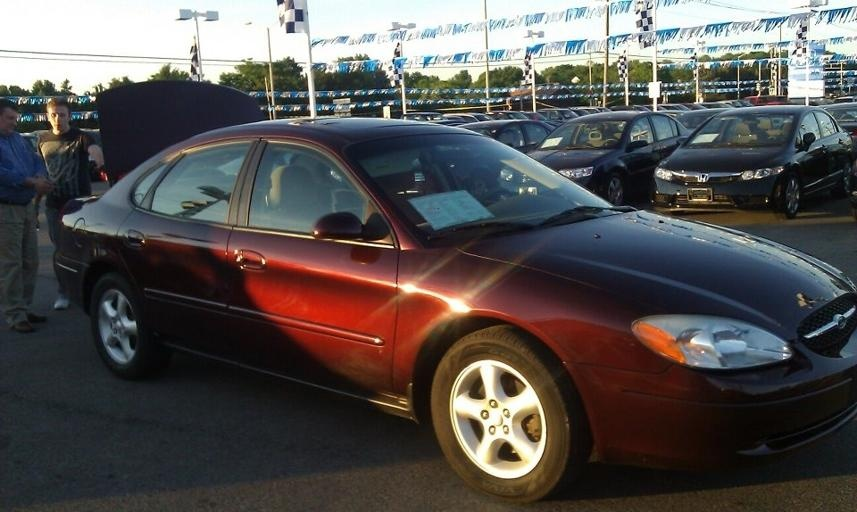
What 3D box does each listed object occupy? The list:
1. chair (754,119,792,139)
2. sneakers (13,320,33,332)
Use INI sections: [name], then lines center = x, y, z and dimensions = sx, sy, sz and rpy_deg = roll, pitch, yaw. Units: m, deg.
[chair]
center = 6.571, -2.425, 11.046
dimensions = 0.396, 0.302, 0.650
rpy_deg = -5, 10, -4
[sneakers]
center = -4.553, 0.791, 6.492
dimensions = 0.293, 0.113, 0.110
rpy_deg = 0, 1, 27
